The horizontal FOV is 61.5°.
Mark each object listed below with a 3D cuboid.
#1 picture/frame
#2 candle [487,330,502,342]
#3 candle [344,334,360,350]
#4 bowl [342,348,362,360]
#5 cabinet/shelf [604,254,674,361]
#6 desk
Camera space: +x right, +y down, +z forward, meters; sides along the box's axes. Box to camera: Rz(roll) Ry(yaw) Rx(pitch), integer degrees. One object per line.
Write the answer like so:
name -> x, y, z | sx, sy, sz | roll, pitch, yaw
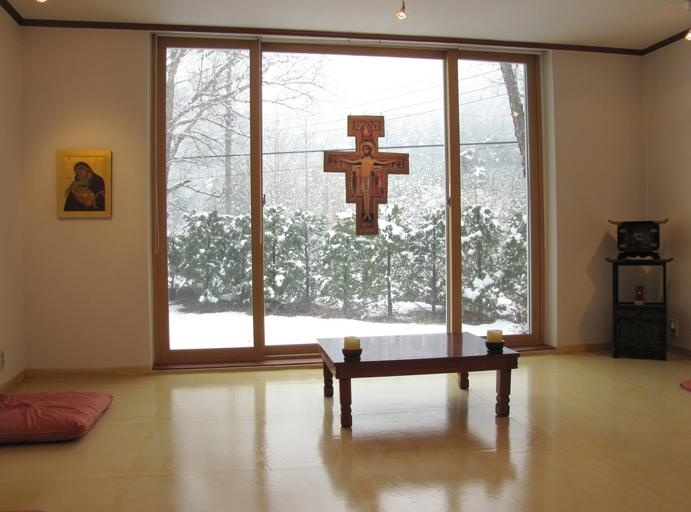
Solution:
picture/frame -> -2.359, -0.656, 5.169 | 0.605, 0.810, 0.058 | 0, 3, 0
candle -> 1.112, 0.591, 4.314 | 0.087, 0.066, 0.089 | 0, 0, 9
candle -> 0.056, 0.622, 4.184 | 0.089, 0.068, 0.091 | 0, -4, -5
bowl -> 0.044, 0.698, 4.127 | 0.090, 0.058, 0.089 | 0, -3, 0
cabinet/shelf -> 2.866, 0.493, 5.632 | 0.614, 0.946, 0.621 | -2, -3, 33
desk -> 0.528, 0.871, 4.449 | 1.416, 0.547, 0.663 | -2, 11, -7
